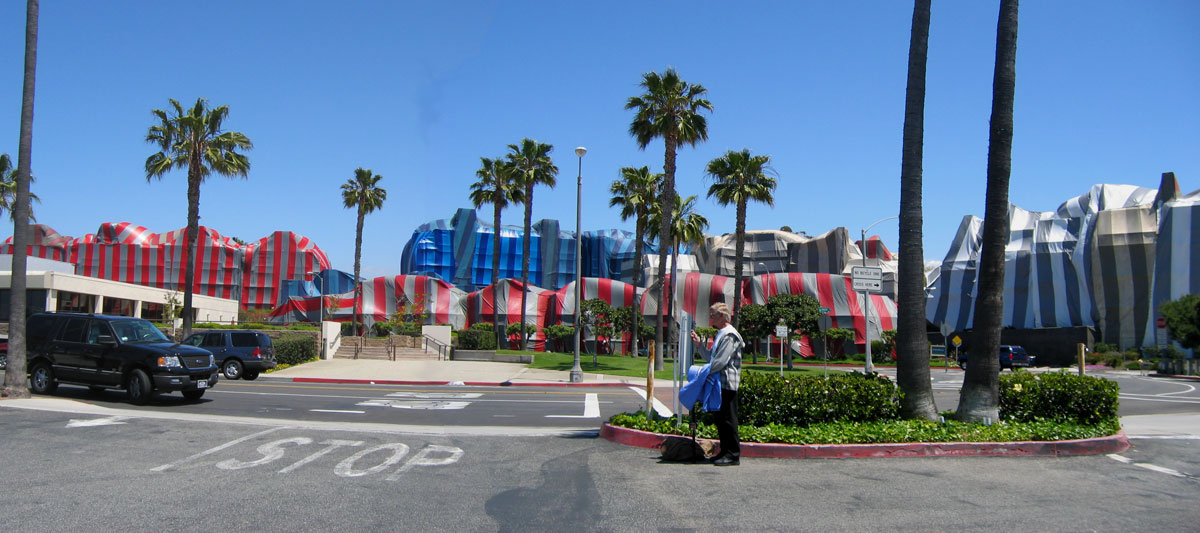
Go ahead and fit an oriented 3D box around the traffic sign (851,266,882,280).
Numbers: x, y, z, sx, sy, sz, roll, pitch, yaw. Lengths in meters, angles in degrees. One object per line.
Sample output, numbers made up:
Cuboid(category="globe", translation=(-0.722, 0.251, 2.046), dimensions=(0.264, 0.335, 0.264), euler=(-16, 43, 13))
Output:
Cuboid(category="traffic sign", translation=(16.187, 0.365, 49.652), dimensions=(0.799, 0.880, 2.389), euler=(-8, -11, 40))
